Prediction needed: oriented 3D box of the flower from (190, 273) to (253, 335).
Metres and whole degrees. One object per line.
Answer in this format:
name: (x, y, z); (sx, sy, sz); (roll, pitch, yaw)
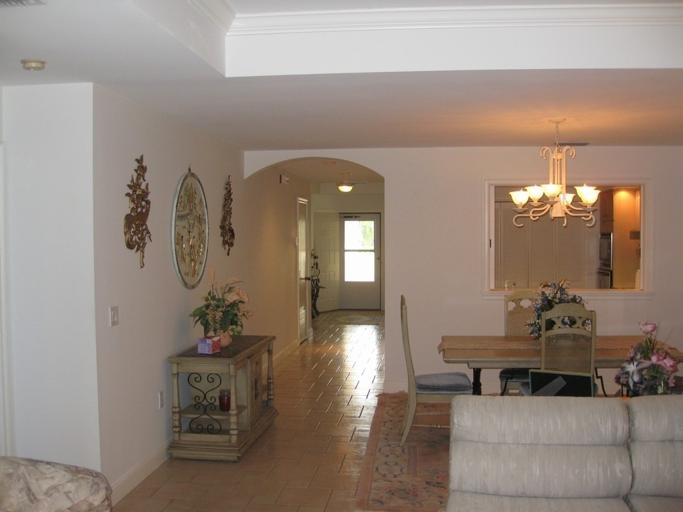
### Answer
flower: (-1.090, 0.442, 5.193); (0.531, 0.552, 0.539); (1, -7, -11)

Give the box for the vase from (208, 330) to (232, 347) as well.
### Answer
vase: (-1.103, 0.709, 5.103); (0.187, 0.186, 0.187); (-1, 3, -19)

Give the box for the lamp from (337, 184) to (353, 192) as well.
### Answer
lamp: (0.060, -1.301, 10.757); (0.193, 0.072, 0.200); (1, 0, 26)

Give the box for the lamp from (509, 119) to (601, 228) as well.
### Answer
lamp: (2.028, -0.819, 5.322); (0.778, 0.903, 0.725); (-2, 5, -26)

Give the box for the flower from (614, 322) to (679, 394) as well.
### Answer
flower: (2.042, 0.738, 3.778); (0.359, 0.387, 0.182); (1, 4, 28)

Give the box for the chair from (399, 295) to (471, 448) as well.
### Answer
chair: (0.849, 0.956, 5.080); (0.714, 1.297, 0.676); (0, -3, 1)

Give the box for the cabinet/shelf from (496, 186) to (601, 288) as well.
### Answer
cabinet/shelf: (3.032, -0.220, 8.071); (1.522, 1.507, 0.524); (0, 0, 4)

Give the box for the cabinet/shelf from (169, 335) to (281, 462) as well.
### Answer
cabinet/shelf: (-1.086, 1.231, 5.157); (0.702, 0.889, 0.957); (0, 4, 8)

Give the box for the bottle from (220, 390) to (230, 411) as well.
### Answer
bottle: (-1.017, 1.250, 4.918); (0.083, 0.186, 0.059); (-2, 4, -20)

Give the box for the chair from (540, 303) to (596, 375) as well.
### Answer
chair: (1.811, 0.640, 4.481); (0.417, 0.552, 0.237); (0, 4, 14)
